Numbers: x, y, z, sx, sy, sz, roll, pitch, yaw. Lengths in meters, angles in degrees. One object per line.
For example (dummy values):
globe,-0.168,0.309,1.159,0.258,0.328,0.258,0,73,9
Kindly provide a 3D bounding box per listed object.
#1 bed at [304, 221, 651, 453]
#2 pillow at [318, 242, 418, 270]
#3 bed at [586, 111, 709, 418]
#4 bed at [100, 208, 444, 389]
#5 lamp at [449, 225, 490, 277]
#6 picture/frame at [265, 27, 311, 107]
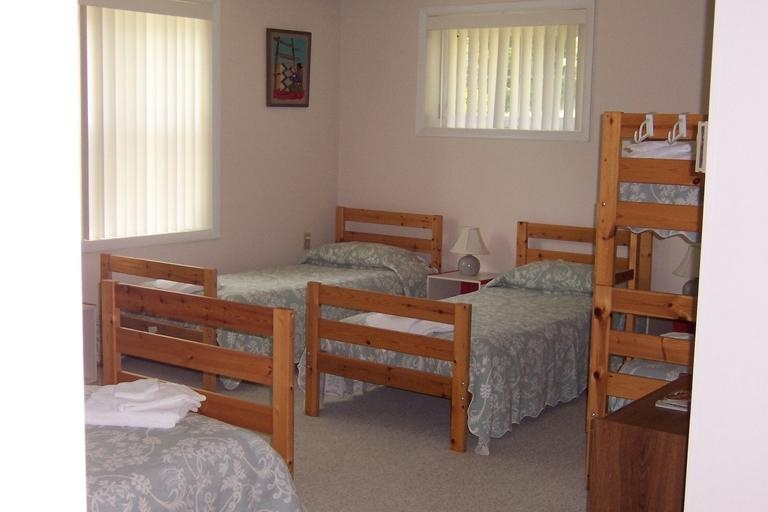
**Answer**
bed,0.735,0.419,4.560,1.358,1.221,2.279,2,3,39
pillow,-0.233,-0.016,5.715,0.548,0.127,0.409,4,6,33
bed,1.232,0.072,2.965,0.496,1.496,0.255,6,11,24
bed,-0.626,0.138,5.268,1.361,0.983,2.358,5,6,42
lamp,0.812,-0.018,5.782,0.351,0.436,0.341,-2,-6,34
picture/frame,-0.928,-1.813,6.007,0.082,0.749,0.565,9,12,35
